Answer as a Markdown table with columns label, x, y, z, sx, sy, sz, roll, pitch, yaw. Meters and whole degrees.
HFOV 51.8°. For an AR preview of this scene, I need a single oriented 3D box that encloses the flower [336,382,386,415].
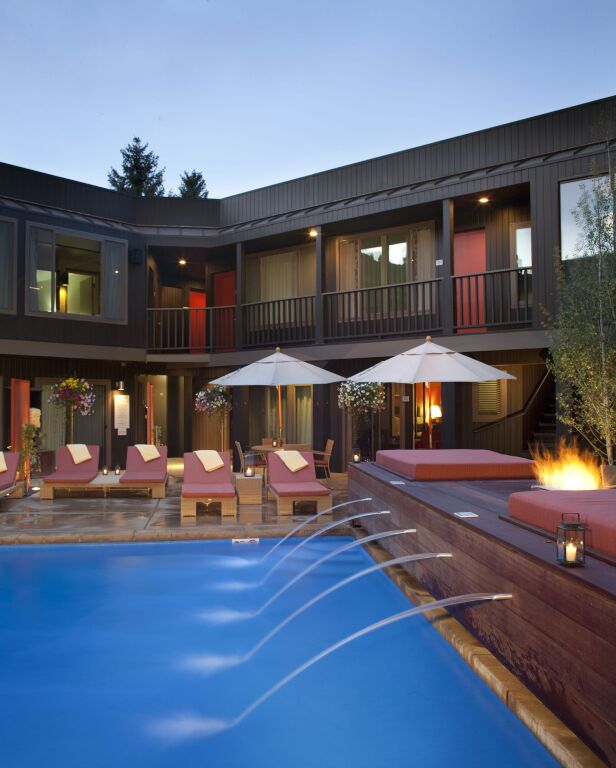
| label | x | y | z | sx | sy | sz | roll | pitch | yaw |
| --- | --- | --- | --- | --- | --- | --- | --- | --- | --- |
| flower | 0.989 | 0.264 | 11.789 | 0.604 | 0.491 | 0.600 | -1 | -1 | 44 |

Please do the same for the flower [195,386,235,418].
| label | x | y | z | sx | sy | sz | roll | pitch | yaw |
| --- | --- | --- | --- | --- | --- | --- | --- | --- | --- |
| flower | -2.283 | 0.401 | 15.514 | 0.677 | 0.871 | 0.383 | 1 | -3 | -6 |

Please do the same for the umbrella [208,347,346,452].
| label | x | y | z | sx | sy | sz | roll | pitch | yaw |
| --- | --- | --- | --- | --- | --- | --- | --- | --- | --- |
| umbrella | -0.585 | -0.143 | 11.487 | 2.025 | 1.836 | 2.138 | -1 | 0 | -13 |

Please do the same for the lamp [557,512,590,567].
| label | x | y | z | sx | sy | sz | roll | pitch | yaw |
| --- | --- | --- | --- | --- | --- | --- | --- | --- | --- |
| lamp | 1.243 | 0.727 | 3.023 | 0.123 | 0.244 | 0.137 | -1 | 4 | -16 |

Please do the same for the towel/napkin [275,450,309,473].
| label | x | y | z | sx | sy | sz | roll | pitch | yaw |
| --- | --- | --- | --- | --- | --- | --- | --- | --- | --- |
| towel/napkin | -0.276 | 1.265 | 9.709 | 0.325 | 0.123 | 0.323 | 40 | 33 | 24 |

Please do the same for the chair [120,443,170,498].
| label | x | y | z | sx | sy | sz | roll | pitch | yaw |
| --- | --- | --- | --- | --- | --- | --- | --- | --- | --- |
| chair | -2.715 | 1.419 | 10.639 | 0.592 | 0.749 | 0.887 | 1 | -2 | -4 |

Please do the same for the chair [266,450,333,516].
| label | x | y | z | sx | sy | sz | roll | pitch | yaw |
| --- | --- | --- | --- | --- | --- | --- | --- | --- | --- |
| chair | -0.178 | 1.405 | 9.260 | 0.546 | 0.734 | 1.029 | 0 | -5 | -5 |

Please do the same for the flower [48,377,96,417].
| label | x | y | z | sx | sy | sz | roll | pitch | yaw |
| --- | --- | --- | --- | --- | --- | --- | --- | --- | --- |
| flower | -4.996 | 0.230 | 13.593 | 0.882 | 0.346 | 0.925 | 26 | -15 | -11 |
